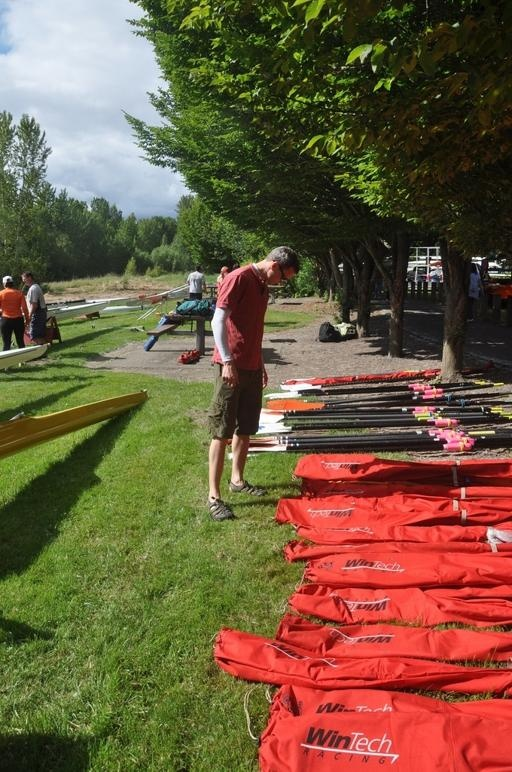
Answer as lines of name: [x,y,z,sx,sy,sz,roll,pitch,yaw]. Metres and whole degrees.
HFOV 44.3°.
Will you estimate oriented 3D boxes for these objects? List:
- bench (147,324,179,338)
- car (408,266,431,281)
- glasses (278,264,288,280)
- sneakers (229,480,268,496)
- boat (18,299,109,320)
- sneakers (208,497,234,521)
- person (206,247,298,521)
bench: [-2.135,-1.277,14.364,0.450,0.248,1.018,1,10,0]
car: [9.208,-6.541,36.081,0.923,0.869,3.330,3,10,10]
glasses: [0.185,-0.826,4.530,0.056,0.097,0.070,10,15,-23]
sneakers: [-0.066,0.795,4.934,0.277,0.115,0.103,-1,-6,14]
boat: [-6.352,-2.751,22.499,0.823,0.438,3.829,1,10,17]
sneakers: [-0.254,0.883,4.494,0.167,0.116,0.218,-1,10,-8]
person: [-0.120,-0.052,4.592,0.565,1.920,0.733,8,12,35]
